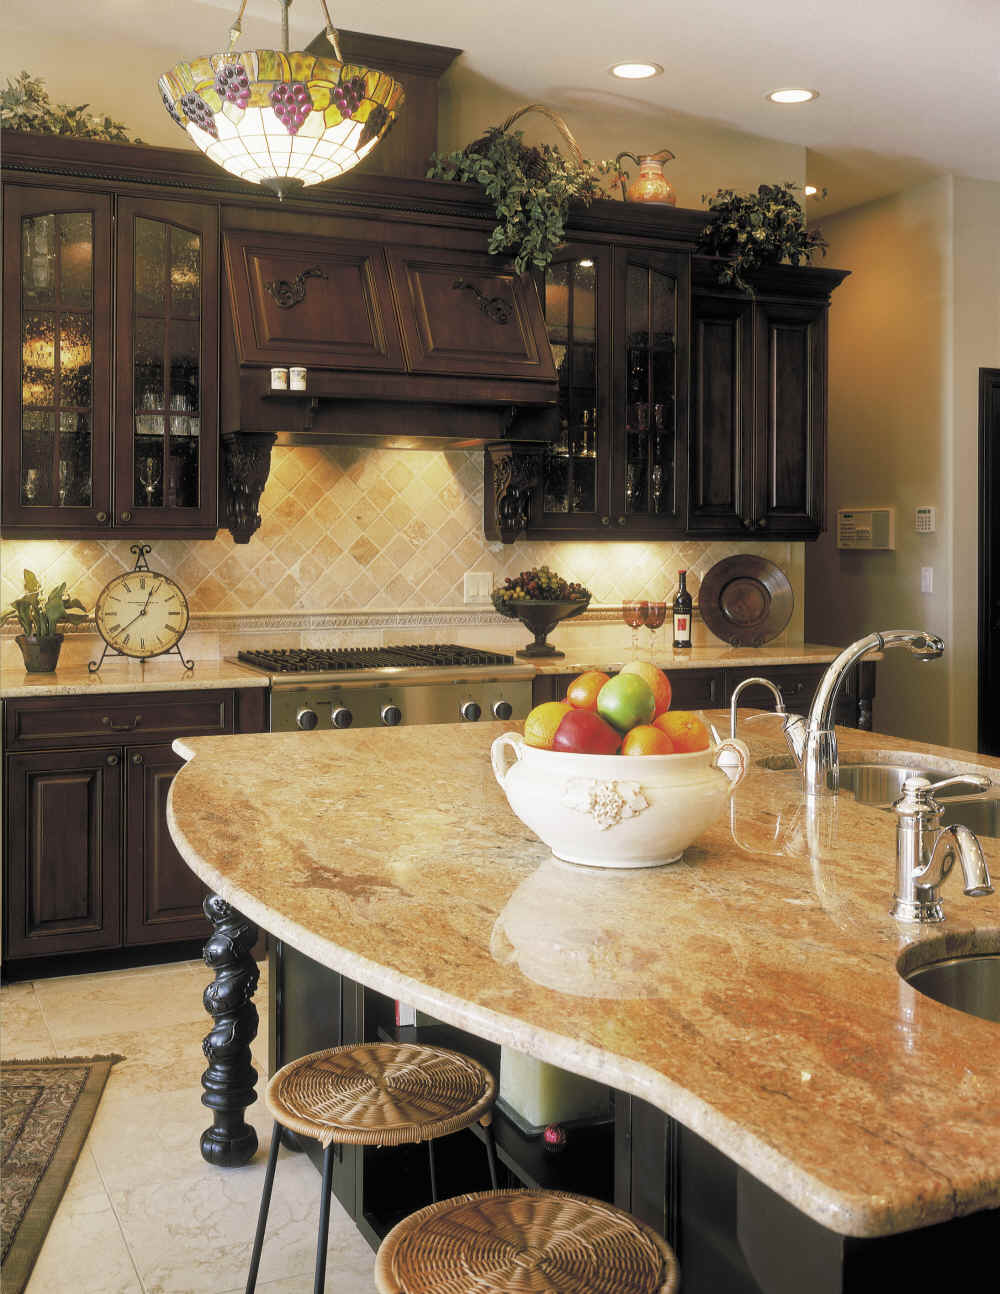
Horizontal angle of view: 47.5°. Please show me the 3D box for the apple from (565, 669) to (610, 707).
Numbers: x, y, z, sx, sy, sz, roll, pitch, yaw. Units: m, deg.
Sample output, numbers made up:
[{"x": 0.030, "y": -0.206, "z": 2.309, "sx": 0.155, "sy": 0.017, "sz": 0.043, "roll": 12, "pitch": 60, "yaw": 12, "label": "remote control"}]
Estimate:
[{"x": 0.116, "y": 0.045, "z": 1.530, "sx": 0.052, "sy": 0.056, "sz": 0.043, "roll": 23, "pitch": -19, "yaw": 9, "label": "apple"}]

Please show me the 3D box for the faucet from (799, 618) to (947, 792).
[{"x": 0.613, "y": 0.101, "z": 1.937, "sx": 0.188, "sy": 0.273, "sz": 0.332, "roll": 1, "pitch": 4, "yaw": 5, "label": "faucet"}]

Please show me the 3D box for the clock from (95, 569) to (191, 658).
[{"x": -1.192, "y": -0.112, "z": 3.799, "sx": 0.297, "sy": 0.272, "sz": 0.043, "roll": 0, "pitch": 0, "yaw": 0, "label": "clock"}]

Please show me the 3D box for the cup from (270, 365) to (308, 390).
[{"x": -0.688, "y": -0.872, "z": 3.716, "sx": 0.095, "sy": 0.053, "sz": 0.090, "roll": 0, "pitch": 3, "yaw": 0, "label": "cup"}]

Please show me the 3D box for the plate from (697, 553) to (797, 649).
[{"x": 1.062, "y": -0.195, "z": 4.874, "sx": 0.422, "sy": 0.395, "sz": 0.093, "roll": 19, "pitch": -5, "yaw": -12, "label": "plate"}]

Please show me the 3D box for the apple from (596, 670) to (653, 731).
[{"x": 0.152, "y": 0.065, "z": 1.422, "sx": 0.064, "sy": 0.074, "sz": 0.069, "roll": 2, "pitch": 14, "yaw": 8, "label": "apple"}]

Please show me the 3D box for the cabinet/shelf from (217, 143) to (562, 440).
[{"x": -0.421, "y": -1.158, "z": 4.143, "sx": 1.224, "sy": 0.830, "sz": 0.370, "roll": -5, "pitch": -9, "yaw": -31, "label": "cabinet/shelf"}]

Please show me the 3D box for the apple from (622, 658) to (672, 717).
[{"x": 0.213, "y": 0.051, "z": 1.520, "sx": 0.078, "sy": 0.083, "sz": 0.074, "roll": -2, "pitch": 3, "yaw": -33, "label": "apple"}]

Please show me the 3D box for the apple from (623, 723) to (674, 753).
[{"x": 0.173, "y": 0.099, "z": 1.330, "sx": 0.039, "sy": 0.037, "sz": 0.038, "roll": 9, "pitch": 21, "yaw": 31, "label": "apple"}]

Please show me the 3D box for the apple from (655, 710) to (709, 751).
[{"x": 0.224, "y": 0.093, "z": 1.390, "sx": 0.051, "sy": 0.058, "sz": 0.051, "roll": 11, "pitch": 12, "yaw": 23, "label": "apple"}]

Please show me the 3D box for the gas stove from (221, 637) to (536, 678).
[{"x": -0.466, "y": 0.038, "z": 4.143, "sx": 0.938, "sy": 0.049, "sz": 0.684, "roll": -2, "pitch": 5, "yaw": -27, "label": "gas stove"}]

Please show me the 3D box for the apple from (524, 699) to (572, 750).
[{"x": 0.056, "y": 0.096, "z": 1.389, "sx": 0.058, "sy": 0.052, "sz": 0.067, "roll": 13, "pitch": -11, "yaw": 14, "label": "apple"}]

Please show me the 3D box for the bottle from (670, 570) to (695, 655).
[{"x": 0.784, "y": -0.162, "z": 4.896, "sx": 0.102, "sy": 0.330, "sz": 0.373, "roll": 1, "pitch": 4, "yaw": 9, "label": "bottle"}]

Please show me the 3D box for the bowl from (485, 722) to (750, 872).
[{"x": 0.149, "y": 0.186, "z": 1.434, "sx": 0.330, "sy": 0.145, "sz": 0.282, "roll": 0, "pitch": 4, "yaw": 5, "label": "bowl"}]

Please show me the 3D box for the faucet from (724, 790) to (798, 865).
[{"x": 0.371, "y": 0.259, "z": 1.619, "sx": 0.101, "sy": 0.039, "sz": 0.120, "roll": -2, "pitch": 4, "yaw": -11, "label": "faucet"}]
